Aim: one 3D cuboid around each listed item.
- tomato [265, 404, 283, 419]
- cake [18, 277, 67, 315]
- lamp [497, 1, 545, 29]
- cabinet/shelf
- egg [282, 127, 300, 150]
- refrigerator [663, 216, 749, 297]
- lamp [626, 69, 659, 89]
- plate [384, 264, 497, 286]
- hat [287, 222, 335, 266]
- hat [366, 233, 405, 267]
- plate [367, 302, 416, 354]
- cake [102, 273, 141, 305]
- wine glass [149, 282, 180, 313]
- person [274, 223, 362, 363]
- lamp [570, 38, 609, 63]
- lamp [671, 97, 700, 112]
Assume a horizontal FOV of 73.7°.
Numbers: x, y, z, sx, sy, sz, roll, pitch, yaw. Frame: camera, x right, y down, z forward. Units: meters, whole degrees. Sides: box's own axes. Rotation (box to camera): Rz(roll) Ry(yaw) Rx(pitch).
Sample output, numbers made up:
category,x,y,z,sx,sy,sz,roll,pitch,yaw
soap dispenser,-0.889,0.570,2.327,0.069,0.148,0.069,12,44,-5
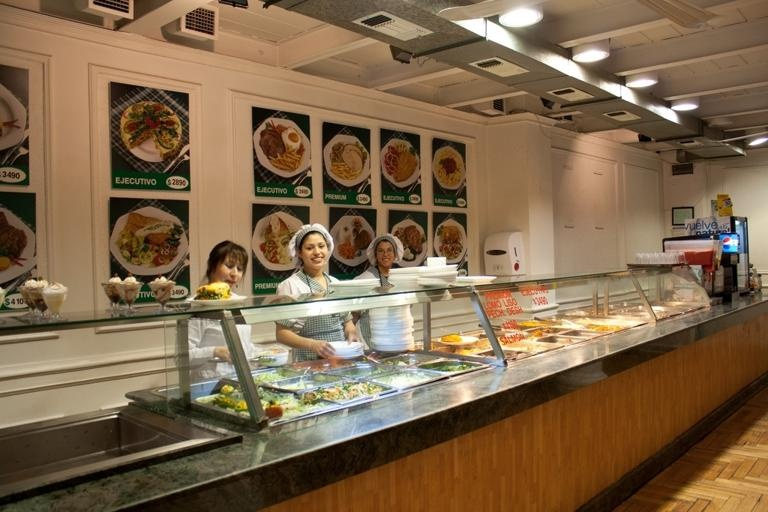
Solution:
category,x,y,z,sx,sy,sz,roll,pitch,yaw
tomato,-0.487,0.685,2.274,0.055,0.051,0.056,-7,-4,35
cake,-1.441,0.156,2.162,0.196,0.122,0.173,-1,10,-21
lamp,1.013,-1.810,3.849,0.284,0.124,0.456,6,13,0
cabinet/shelf,0.663,0.539,3.417,3.264,0.118,0.495,14,-32,-32
egg,-0.911,-1.166,5.057,0.197,0.181,0.062,-10,-9,-46
refrigerator,3.482,0.016,5.462,0.505,0.763,1.004,-4,-4,39
lamp,2.690,-1.848,5.372,0.308,0.158,0.241,1,14,-21
plate,0.356,0.104,3.023,0.621,0.134,0.176,1,14,-19
hat,-0.543,-0.152,3.776,0.401,0.363,0.156,7,14,-9
hat,0.030,-0.078,4.875,0.329,0.326,0.143,5,8,7
plate,0.040,0.421,3.132,0.313,0.276,0.294,-2,0,-16
cake,-1.191,0.160,2.320,0.138,0.191,0.294,-1,15,-29
wine glass,-1.007,0.179,2.355,0.152,0.148,0.145,1,6,-4
person,-0.410,0.183,3.144,0.463,0.556,1.303,4,13,-11
lamp,1.875,-1.827,4.604,0.248,0.107,0.252,-3,-2,39
lamp,3.625,-1.817,6.154,0.201,0.066,0.205,1,1,40
